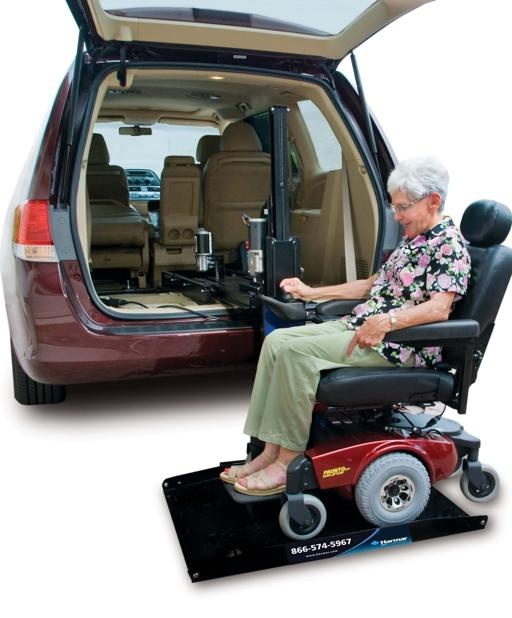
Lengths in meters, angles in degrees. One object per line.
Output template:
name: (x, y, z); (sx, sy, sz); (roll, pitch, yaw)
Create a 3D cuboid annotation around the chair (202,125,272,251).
chair: (-0.230, -0.981, 4.455); (0.565, 0.906, 0.510); (-4, 17, -16)

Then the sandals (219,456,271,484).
sandals: (-0.012, 0.610, 2.140); (0.244, 0.081, 0.079); (-4, 15, -13)
